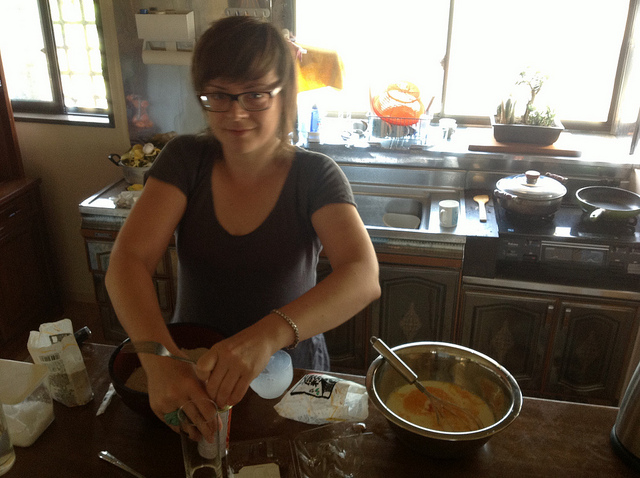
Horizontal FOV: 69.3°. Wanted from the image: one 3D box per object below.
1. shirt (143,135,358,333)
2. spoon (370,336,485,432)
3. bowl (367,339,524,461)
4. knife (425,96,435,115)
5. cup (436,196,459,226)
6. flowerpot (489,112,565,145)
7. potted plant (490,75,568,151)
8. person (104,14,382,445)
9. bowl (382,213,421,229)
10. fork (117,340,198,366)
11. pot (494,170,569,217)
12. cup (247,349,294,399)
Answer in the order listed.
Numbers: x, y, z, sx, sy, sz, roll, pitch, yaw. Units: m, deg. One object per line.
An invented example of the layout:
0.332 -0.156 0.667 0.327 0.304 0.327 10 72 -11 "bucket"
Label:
-0.207 -0.009 1.458 0.614 0.568 0.236 3 21 6 "shirt"
0.273 0.377 1.173 0.290 0.077 0.078 43 11 24 "spoon"
0.337 0.407 1.316 0.415 0.157 0.428 1 -11 0 "bowl"
0.657 -0.791 2.757 0.020 0.104 0.012 7 21 -35 "knife"
0.667 -0.137 2.415 0.102 0.142 0.162 10 34 29 "cup"
1.187 -0.601 2.669 0.367 0.106 0.050 6 21 13 "flowerpot"
1.233 -0.750 2.717 0.399 0.355 0.288 20 20 38 "potted plant"
-0.226 -0.091 1.279 0.682 0.970 0.725 -13 25 -33 "person"
0.494 -0.110 2.784 0.204 0.098 0.051 1 -1 10 "bowl"
-0.397 0.278 1.122 0.229 0.027 0.030 21 2 -40 "fork"
1.053 -0.268 2.455 0.325 0.247 0.379 9 19 15 "pot"
-0.157 0.393 1.313 0.159 0.125 0.173 -4 3 0 "cup"
